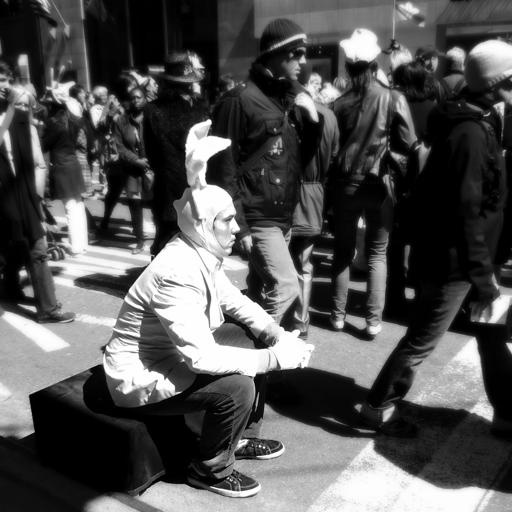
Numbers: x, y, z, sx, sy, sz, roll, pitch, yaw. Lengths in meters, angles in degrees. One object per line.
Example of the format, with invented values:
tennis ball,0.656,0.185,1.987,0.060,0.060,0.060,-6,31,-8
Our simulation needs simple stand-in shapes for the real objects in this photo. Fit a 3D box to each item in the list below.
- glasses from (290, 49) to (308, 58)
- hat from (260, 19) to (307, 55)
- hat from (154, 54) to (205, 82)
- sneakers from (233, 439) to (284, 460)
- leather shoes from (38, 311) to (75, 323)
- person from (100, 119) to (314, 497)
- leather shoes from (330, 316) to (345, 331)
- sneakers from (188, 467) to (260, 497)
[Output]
glasses,0.244,-1.245,3.573,0.078,0.025,0.077,0,8,-11
hat,0.164,-1.346,3.573,0.283,0.224,0.239,1,18,-4
hat,-0.592,-1.357,4.108,0.332,0.162,0.344,16,30,4
sneakers,0.013,0.973,3.007,0.265,0.101,0.098,-2,11,-3
leather shoes,-1.720,0.504,5.011,0.288,0.118,0.112,-3,13,-15
person,-0.191,0.239,2.614,0.914,1.558,0.743,0,11,-15
leather shoes,0.657,0.549,4.731,0.089,0.105,0.113,0,2,0
sneakers,-0.137,1.030,2.712,0.338,0.118,0.129,6,-4,3
